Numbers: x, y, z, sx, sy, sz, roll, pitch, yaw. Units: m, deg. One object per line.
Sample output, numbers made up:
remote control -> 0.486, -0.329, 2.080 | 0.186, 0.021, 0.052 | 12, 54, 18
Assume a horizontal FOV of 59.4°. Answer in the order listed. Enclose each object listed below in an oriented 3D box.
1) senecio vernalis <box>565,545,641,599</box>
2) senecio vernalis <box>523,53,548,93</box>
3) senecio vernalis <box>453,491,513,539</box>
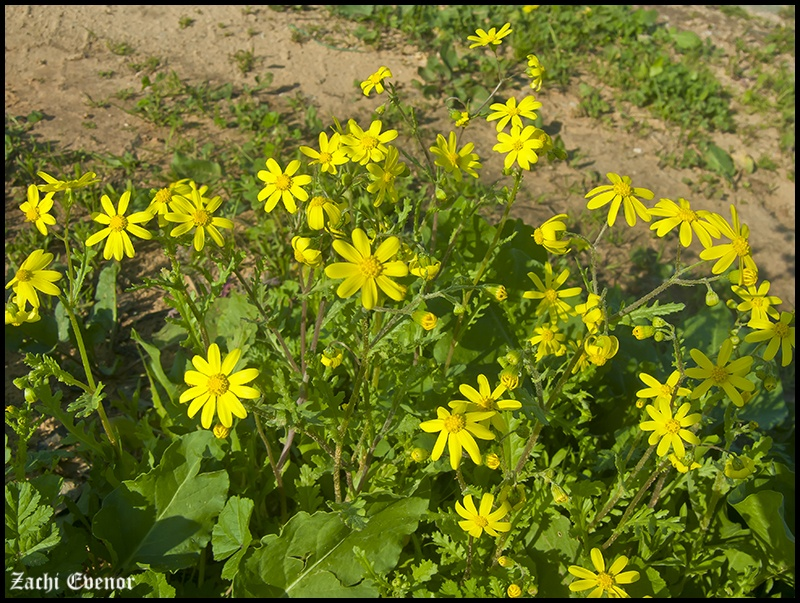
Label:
senecio vernalis -> 0.987, 1.353, 3.418 | 0.289, 0.292, 0.059 | 45, 6, 7
senecio vernalis -> 0.732, -1.247, 3.855 | 0.111, 0.177, 0.307 | 18, 24, 4
senecio vernalis -> 0.387, 1.033, 3.337 | 0.240, 0.254, 0.084 | -23, -1, 19
